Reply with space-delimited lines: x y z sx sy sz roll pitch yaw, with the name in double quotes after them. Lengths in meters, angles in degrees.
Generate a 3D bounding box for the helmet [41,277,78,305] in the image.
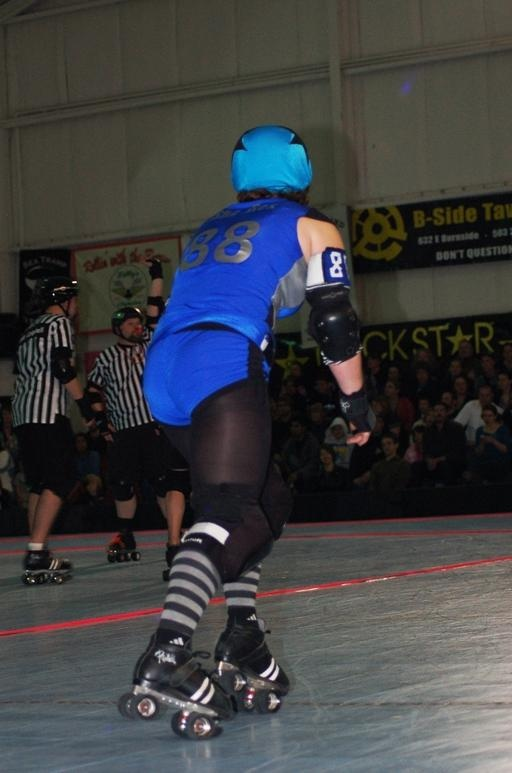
-1.072 -0.520 4.519 0.185 0.124 0.149 6 -4 -38 "helmet"

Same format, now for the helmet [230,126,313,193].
0.060 -0.502 1.799 0.149 0.173 0.181 1 21 7 "helmet"

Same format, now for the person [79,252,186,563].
-0.644 0.216 4.727 0.538 2.170 0.727 -3 -1 24 "person"

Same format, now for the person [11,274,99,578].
-1.093 0.206 4.450 0.434 1.561 0.671 4 -3 -27 "person"

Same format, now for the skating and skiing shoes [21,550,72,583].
-1.030 0.895 4.097 0.234 0.135 0.167 -8 -8 36 "skating and skiing shoes"

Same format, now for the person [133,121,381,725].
-0.027 0.014 1.525 0.443 1.029 0.392 8 2 6 "person"
